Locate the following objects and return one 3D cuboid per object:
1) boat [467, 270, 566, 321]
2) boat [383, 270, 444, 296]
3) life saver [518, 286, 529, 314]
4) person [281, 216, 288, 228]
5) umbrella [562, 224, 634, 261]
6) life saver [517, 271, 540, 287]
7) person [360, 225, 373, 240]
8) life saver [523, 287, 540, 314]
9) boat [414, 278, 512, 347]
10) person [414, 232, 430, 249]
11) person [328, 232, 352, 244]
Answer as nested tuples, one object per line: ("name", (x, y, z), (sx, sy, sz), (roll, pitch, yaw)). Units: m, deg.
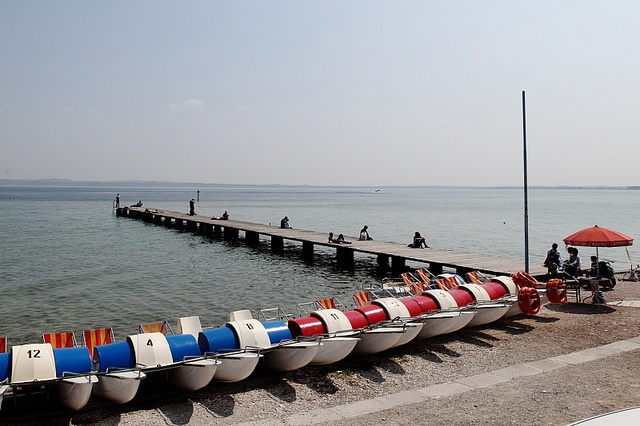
("boat", (6.813, 2.926, 18.593), (1.798, 0.954, 2.797), (-2, 2, -24))
("boat", (3.750, 3.141, 21.650), (2.439, 0.800, 1.386), (-7, 13, -30))
("life saver", (6.867, 2.944, 17.336), (0.393, 0.849, 0.437), (0, 7, 19))
("person", (-3.251, 0.823, 46.039), (0.723, 0.845, 0.846), (-6, 12, -16))
("umbrella", (11.006, 1.141, 20.498), (1.544, 0.855, 1.481), (-4, 4, -36))
("life saver", (7.445, 2.416, 18.606), (0.548, 0.311, 0.691), (9, 15, -23))
("person", (2.972, 1.280, 34.834), (0.718, 1.018, 1.877), (-2, 5, 4))
("life saver", (7.110, 2.984, 17.464), (0.427, 0.829, 0.991), (-5, -7, 40))
("boat", (5.192, 3.122, 17.772), (5.313, 1.397, 1.570), (-4, -13, -31))
("person", (6.071, 1.700, 31.756), (0.712, 0.909, 1.694), (-1, 5, 10))
("person", (1.204, 1.683, 33.569), (1.405, 0.608, 0.630), (0, 2, 13))
